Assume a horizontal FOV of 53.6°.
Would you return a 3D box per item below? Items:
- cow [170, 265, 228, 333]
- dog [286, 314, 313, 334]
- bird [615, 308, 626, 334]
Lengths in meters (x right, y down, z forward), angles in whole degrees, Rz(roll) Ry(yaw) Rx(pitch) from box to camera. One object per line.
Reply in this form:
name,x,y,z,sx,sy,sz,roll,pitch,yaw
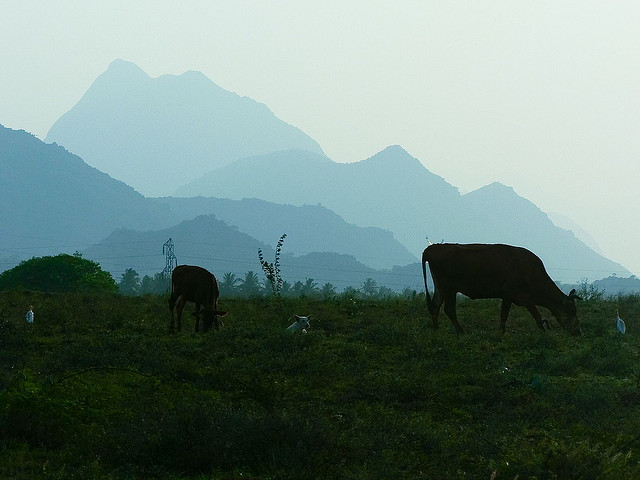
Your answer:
cow,-4.802,2.186,24.365,2.383,2.880,1.314,-9,-14,33
dog,-0.688,3.008,22.669,0.751,0.437,0.391,-29,-24,38
bird,9.931,2.710,20.854,0.243,0.800,0.991,-6,-13,25
